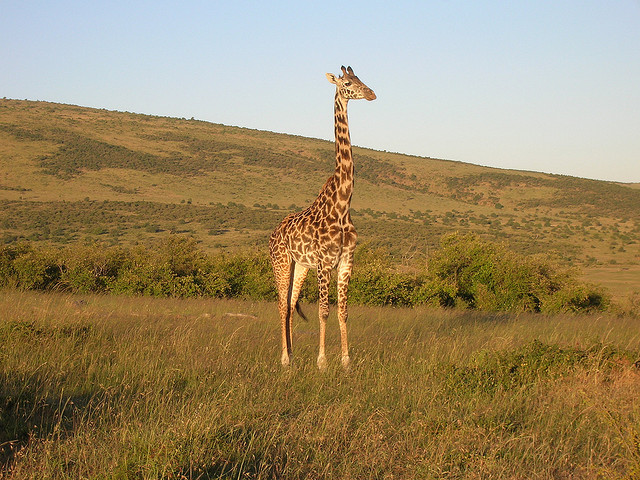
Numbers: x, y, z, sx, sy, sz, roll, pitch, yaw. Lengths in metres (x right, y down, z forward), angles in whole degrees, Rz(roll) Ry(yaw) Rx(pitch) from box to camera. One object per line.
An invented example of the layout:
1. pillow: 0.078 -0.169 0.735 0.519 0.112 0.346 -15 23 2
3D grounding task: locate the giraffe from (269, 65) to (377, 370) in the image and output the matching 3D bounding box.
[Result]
1. giraffe: 0.023 -0.465 12.242 1.964 5.010 1.000 6 5 39
